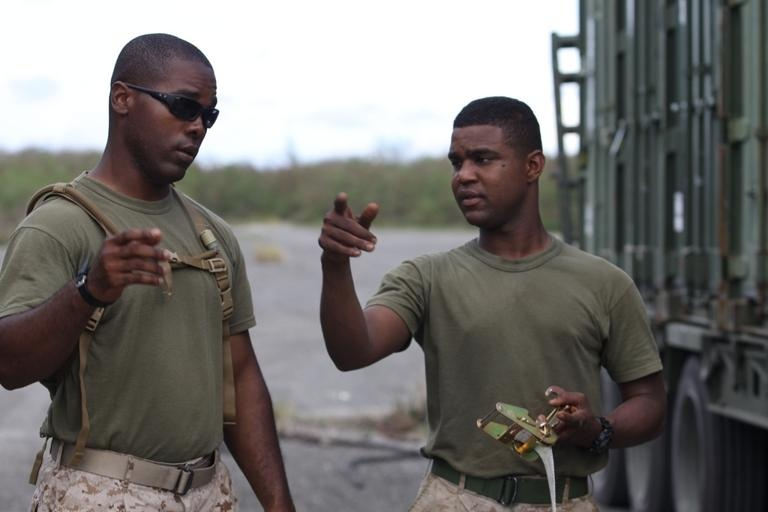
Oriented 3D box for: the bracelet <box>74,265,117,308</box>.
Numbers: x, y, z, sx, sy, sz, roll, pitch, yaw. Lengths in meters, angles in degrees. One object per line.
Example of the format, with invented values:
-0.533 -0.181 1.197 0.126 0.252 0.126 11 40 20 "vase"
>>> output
-1.343 0.154 5.722 0.144 0.196 0.132 -1 5 -20 "bracelet"
